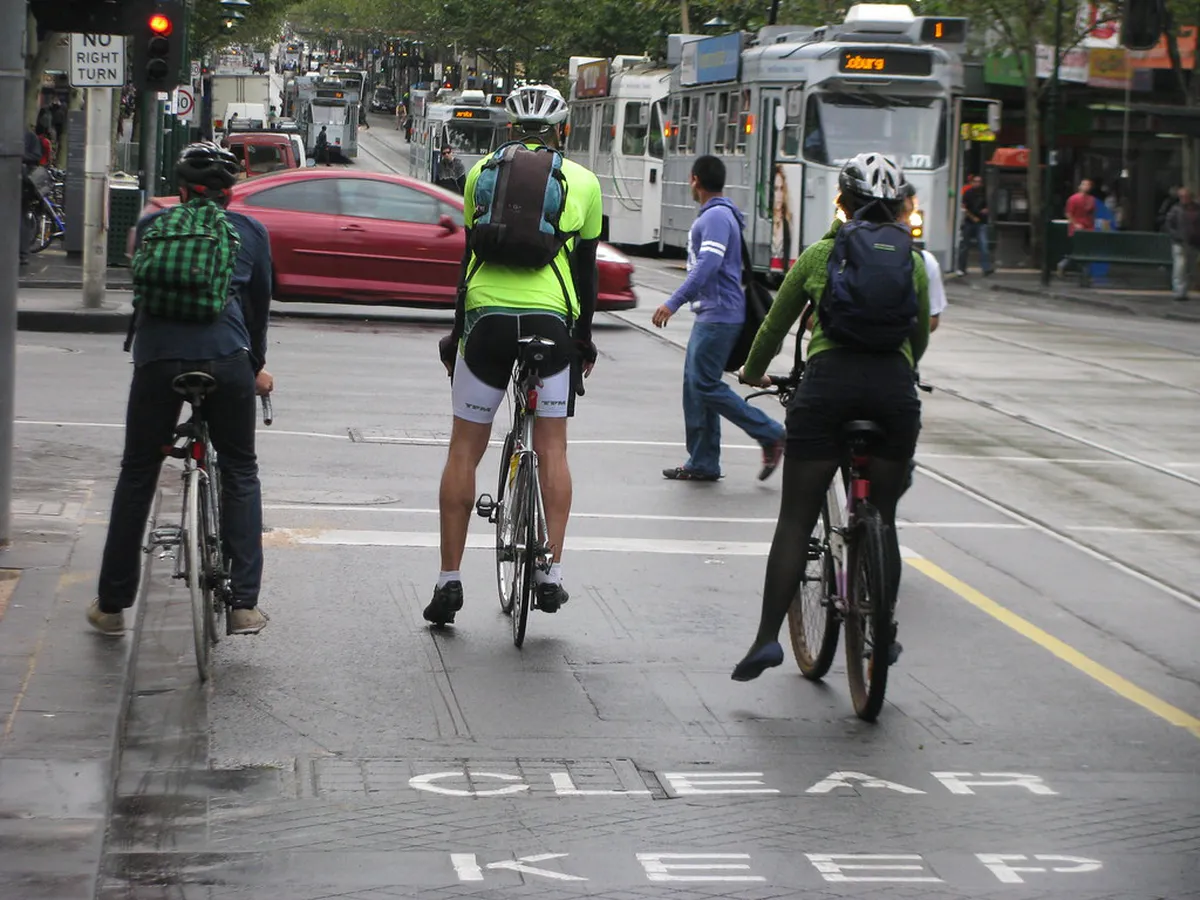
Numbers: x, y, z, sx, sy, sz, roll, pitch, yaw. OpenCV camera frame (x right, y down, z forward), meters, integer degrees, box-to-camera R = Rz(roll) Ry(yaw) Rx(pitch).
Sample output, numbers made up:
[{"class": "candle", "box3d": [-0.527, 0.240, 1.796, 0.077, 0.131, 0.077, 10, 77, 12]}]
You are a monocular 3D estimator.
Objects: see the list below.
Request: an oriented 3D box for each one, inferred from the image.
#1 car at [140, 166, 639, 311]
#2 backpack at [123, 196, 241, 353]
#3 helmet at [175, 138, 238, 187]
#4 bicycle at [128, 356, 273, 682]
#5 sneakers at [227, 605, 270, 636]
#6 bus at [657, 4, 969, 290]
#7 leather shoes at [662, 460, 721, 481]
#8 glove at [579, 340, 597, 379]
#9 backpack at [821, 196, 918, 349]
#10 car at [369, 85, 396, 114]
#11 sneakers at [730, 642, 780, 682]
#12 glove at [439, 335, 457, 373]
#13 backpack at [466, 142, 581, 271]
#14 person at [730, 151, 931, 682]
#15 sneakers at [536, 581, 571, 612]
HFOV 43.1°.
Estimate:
[{"class": "car", "box3d": [-2.701, -2.528, 19.585, 6.042, 1.611, 2.434, 0, 5, -8]}, {"class": "backpack", "box3d": [-1.681, -0.759, 6.122, 0.398, 0.503, 0.312, 2, 10, -8]}, {"class": "helmet", "box3d": [-1.627, -1.184, 6.330, 0.245, 0.211, 0.185, -13, 11, -24]}, {"class": "bicycle", "box3d": [-1.671, 0.306, 6.152, 0.345, 1.260, 0.928, 1, 11, -14]}, {"class": "sneakers", "box3d": [-1.510, 0.721, 6.420, 0.096, 0.073, 0.186, 0, 4, 8]}, {"class": "bus", "box3d": [3.091, -4.519, 22.254, 3.761, 4.283, 9.092, -2, 6, -9]}, {"class": "leather shoes", "box3d": [0.643, 0.143, 10.810, 0.419, 0.149, 0.135, 7, 2, 0]}, {"class": "glove", "box3d": [-0.080, -0.417, 6.946, 0.052, 0.142, 0.111, -8, -13, 20]}, {"class": "backpack", "box3d": [1.058, -0.642, 6.004, 0.372, 0.497, 0.321, 4, 10, 7]}, {"class": "car", "box3d": [-21.420, -33.752, 147.507, 2.316, 2.028, 4.175, 0, 0, -8]}, {"class": "sneakers", "box3d": [0.637, 0.855, 6.218, 0.102, 0.098, 0.254, 31, -55, -33]}, {"class": "glove", "box3d": [-0.720, -0.433, 7.093, 0.072, 0.175, 0.132, 7, 13, -8]}, {"class": "backpack", "box3d": [-0.347, -1.051, 6.694, 0.488, 0.584, 0.310, 8, -30, 4]}, {"class": "person", "box3d": [0.939, -0.064, 6.163, 0.746, 2.236, 0.729, 7, 11, 19]}, {"class": "sneakers", "box3d": [-0.234, 0.643, 6.769, 0.137, 0.135, 0.178, 3, 10, -3]}]
